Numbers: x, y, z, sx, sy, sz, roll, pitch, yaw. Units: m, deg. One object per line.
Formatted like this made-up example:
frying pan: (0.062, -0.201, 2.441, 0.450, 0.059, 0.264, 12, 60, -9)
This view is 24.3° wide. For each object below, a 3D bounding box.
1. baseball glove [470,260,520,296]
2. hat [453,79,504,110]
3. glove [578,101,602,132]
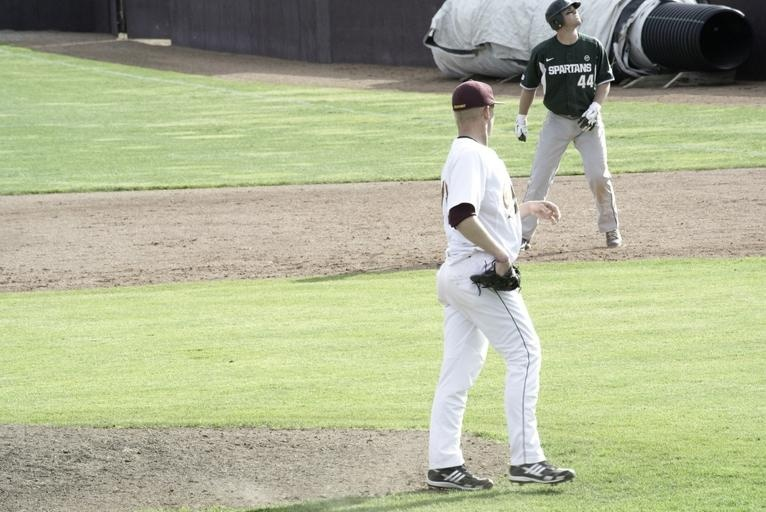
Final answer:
baseball glove: (1.490, 0.270, 23.010, 0.903, 0.249, 0.326, 2, 52, -2)
hat: (1.267, -2.112, 23.189, 0.537, 0.237, 0.385, -15, 21, -40)
glove: (3.259, -2.184, 27.812, 0.333, 0.451, 0.213, 1, 10, 3)
